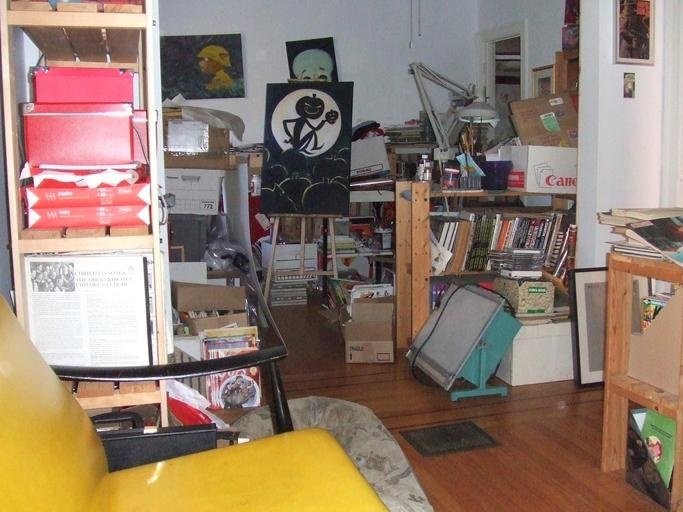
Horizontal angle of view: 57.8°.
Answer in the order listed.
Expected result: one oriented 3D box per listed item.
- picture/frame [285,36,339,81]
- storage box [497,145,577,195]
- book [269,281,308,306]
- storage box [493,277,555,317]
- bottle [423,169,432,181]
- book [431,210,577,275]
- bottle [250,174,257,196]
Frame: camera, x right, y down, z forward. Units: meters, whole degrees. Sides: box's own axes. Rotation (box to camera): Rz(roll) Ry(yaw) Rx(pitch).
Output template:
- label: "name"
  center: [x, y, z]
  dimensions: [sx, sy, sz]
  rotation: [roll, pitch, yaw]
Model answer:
- label: "picture/frame"
  center: [-0.339, -2.349, 7.337]
  dimensions: [0.625, 0.485, 0.205]
  rotation: [-1, 13, -4]
- label: "storage box"
  center: [1.310, -0.561, 4.249]
  dimensions: [0.357, 0.229, 0.359]
  rotation: [-1, 8, -19]
- label: "book"
  center: [-0.473, 0.331, 5.584]
  dimensions: [0.241, 0.160, 0.249]
  rotation: [-1, 2, -2]
- label: "storage box"
  center: [1.111, 0.226, 3.724]
  dimensions: [0.210, 0.188, 0.296]
  rotation: [-1, 6, -8]
- label: "bottle"
  center: [0.560, -0.534, 4.086]
  dimensions: [0.077, 0.094, 0.080]
  rotation: [1, 6, 7]
- label: "book"
  center: [1.038, -0.086, 4.081]
  dimensions: [0.931, 0.399, 0.536]
  rotation: [4, 13, 15]
- label: "bottle"
  center: [-0.867, -0.722, 6.259]
  dimensions: [0.083, 0.185, 0.108]
  rotation: [-2, 13, -8]
